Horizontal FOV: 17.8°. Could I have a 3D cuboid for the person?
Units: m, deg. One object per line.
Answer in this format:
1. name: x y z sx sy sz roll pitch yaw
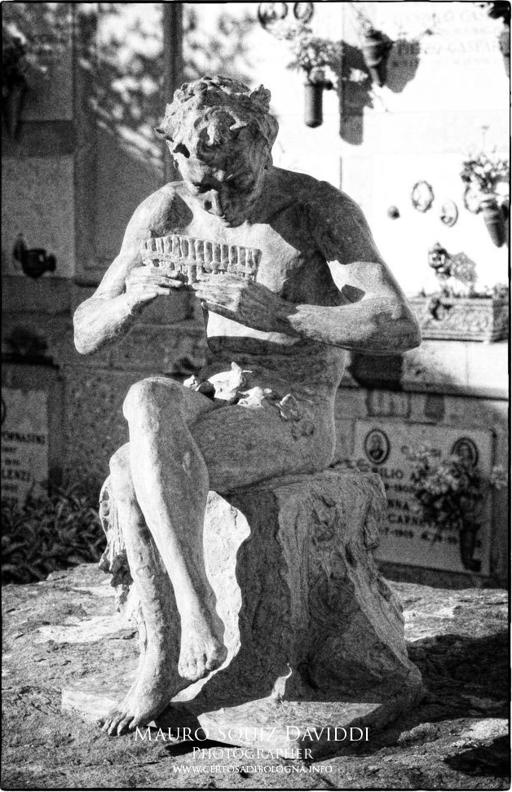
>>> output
1. person: -0.117 0.002 5.081 0.900 1.964 1.055 9 13 41
